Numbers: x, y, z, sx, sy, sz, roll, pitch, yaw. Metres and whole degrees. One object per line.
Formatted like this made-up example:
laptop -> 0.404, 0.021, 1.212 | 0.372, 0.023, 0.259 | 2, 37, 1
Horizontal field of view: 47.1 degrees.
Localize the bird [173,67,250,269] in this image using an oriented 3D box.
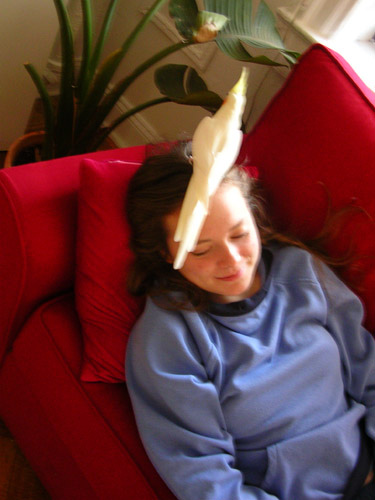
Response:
bird -> 0.031, -0.117, 0.611 | 0.067, 0.256, 0.162 | 14, 38, -23
